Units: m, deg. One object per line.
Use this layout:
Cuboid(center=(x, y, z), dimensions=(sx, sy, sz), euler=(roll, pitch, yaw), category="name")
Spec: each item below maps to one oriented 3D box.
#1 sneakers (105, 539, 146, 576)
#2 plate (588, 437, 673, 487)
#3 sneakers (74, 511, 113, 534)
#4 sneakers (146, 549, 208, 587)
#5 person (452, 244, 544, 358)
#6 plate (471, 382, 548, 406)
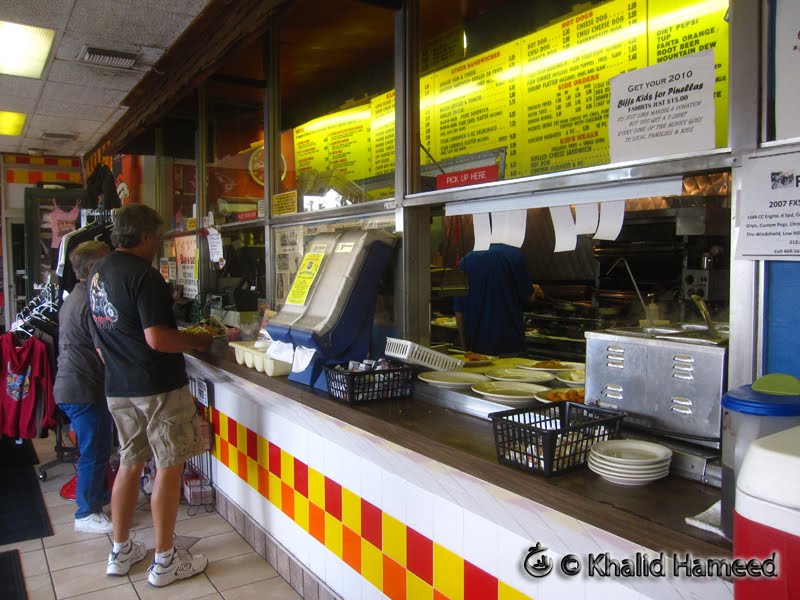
Cuboid(center=(-1.663, 1.558, 3.695), dimensions=(0.114, 0.141, 0.305), euler=(3, 5, 8), category="sneakers")
Cuboid(center=(0.701, 0.501, 1.844), dimensions=(0.213, 0.092, 0.201), euler=(4, 8, 40), category="plate")
Cuboid(center=(-2.104, 1.547, 4.188), dimensions=(0.279, 0.135, 0.121), euler=(2, 2, -9), category="sneakers")
Cuboid(center=(-1.306, 1.574, 3.609), dimensions=(0.151, 0.190, 0.380), euler=(7, 9, 44), category="sneakers")
Cuboid(center=(0.772, 0.044, 4.815), dimensions=(0.880, 1.177, 0.452), euler=(2, 11, 10), category="person")
Cuboid(center=(0.442, 0.378, 2.525), dimensions=(0.295, 0.036, 0.359), euler=(1, 6, 19), category="plate")
